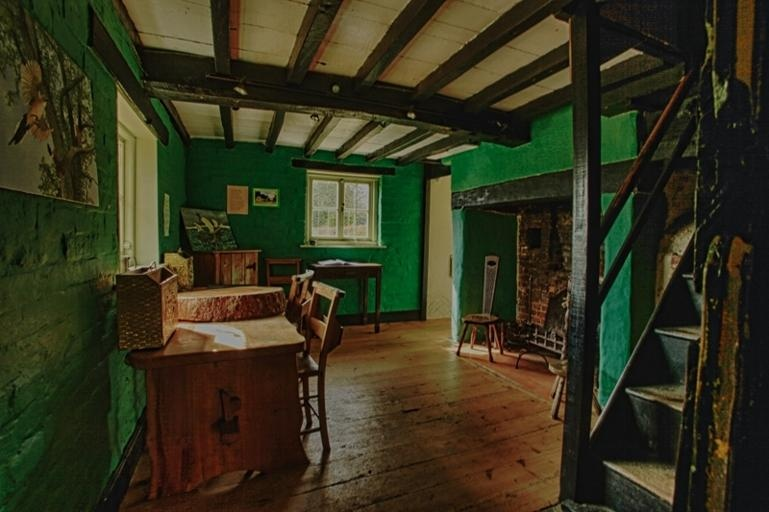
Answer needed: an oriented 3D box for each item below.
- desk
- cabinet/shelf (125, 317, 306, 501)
[{"bbox_3d":[-0.439,0.530,6.684,0.937,0.971,0.755,0,2,-22],"label":"desk"},{"bbox_3d":[-1.017,0.860,3.448,0.918,0.786,1.026,1,-1,-20],"label":"cabinet/shelf"}]
